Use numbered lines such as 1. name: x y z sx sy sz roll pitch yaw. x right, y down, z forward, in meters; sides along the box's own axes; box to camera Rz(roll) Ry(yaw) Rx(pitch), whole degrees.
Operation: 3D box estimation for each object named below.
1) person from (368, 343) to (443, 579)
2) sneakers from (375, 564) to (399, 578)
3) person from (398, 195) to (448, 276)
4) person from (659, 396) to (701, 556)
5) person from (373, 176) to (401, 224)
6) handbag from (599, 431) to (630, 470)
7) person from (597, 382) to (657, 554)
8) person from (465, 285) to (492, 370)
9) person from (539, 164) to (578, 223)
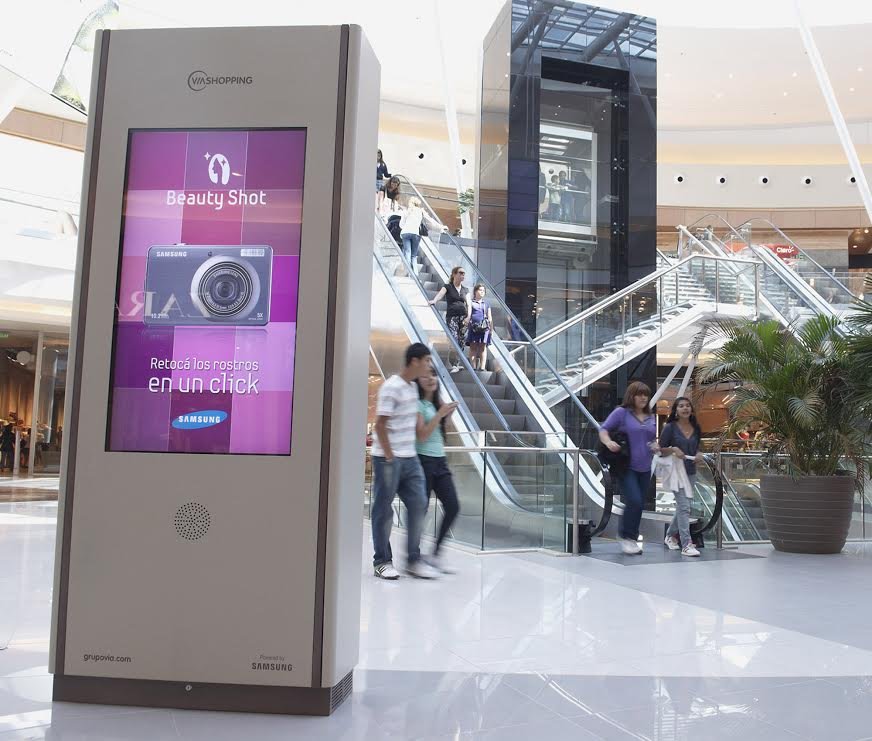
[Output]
1. person: -0.253 0.697 5.429 0.472 1.208 0.621 -2 -1 -5
2. sneakers: -0.356 1.509 5.463 0.072 0.099 0.203 5 -18 -27
3. person: -0.425 -2.464 13.532 1.129 1.612 0.445 0 -21 12
4. person: 2.459 1.065 7.299 0.382 1.436 0.742 -2 -1 19
5. person: -0.925 -3.190 14.008 0.425 1.003 1.282 -2 0 -4
6. handbag: 1.726 0.766 6.990 0.128 0.371 0.367 4 -9 -21
7. person: 1.876 0.945 7.033 0.607 1.440 0.359 -2 -1 1
8. person: 0.654 -0.516 11.018 0.343 0.912 0.427 -2 -1 17
9. person: 2.798 -3.992 16.777 0.819 1.095 0.412 -2 -1 10
